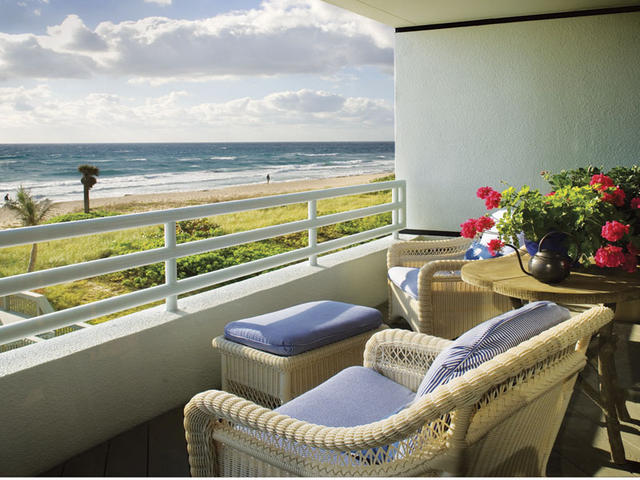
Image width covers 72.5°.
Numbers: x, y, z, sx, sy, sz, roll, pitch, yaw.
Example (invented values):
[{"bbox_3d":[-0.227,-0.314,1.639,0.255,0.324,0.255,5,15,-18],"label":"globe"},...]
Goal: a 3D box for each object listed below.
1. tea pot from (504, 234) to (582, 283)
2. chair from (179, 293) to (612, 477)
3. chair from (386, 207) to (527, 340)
[{"bbox_3d":[1.132,0.095,2.274,0.360,0.239,0.249,-2,1,18],"label":"tea pot"},{"bbox_3d":[0.258,0.513,1.465,1.010,0.601,0.858,8,16,38],"label":"chair"},{"bbox_3d":[0.987,0.312,3.416,1.063,0.700,0.889,-8,10,-27],"label":"chair"}]
